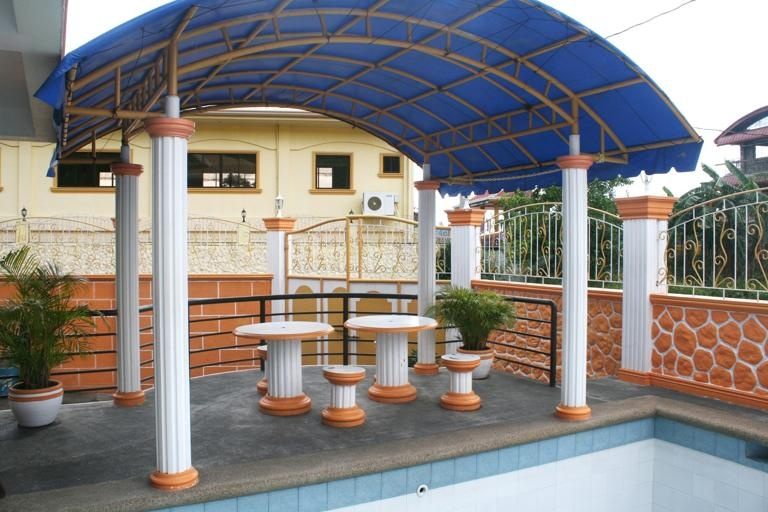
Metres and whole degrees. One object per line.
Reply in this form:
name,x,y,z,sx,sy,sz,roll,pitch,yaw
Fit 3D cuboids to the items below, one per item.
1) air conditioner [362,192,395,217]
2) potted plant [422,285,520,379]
air conditioner,-0.189,-1.763,20.329,1.600,1.001,0.864,0,-2,-4
potted plant,1.481,1.265,10.481,1.548,1.474,1.519,0,-4,-12
